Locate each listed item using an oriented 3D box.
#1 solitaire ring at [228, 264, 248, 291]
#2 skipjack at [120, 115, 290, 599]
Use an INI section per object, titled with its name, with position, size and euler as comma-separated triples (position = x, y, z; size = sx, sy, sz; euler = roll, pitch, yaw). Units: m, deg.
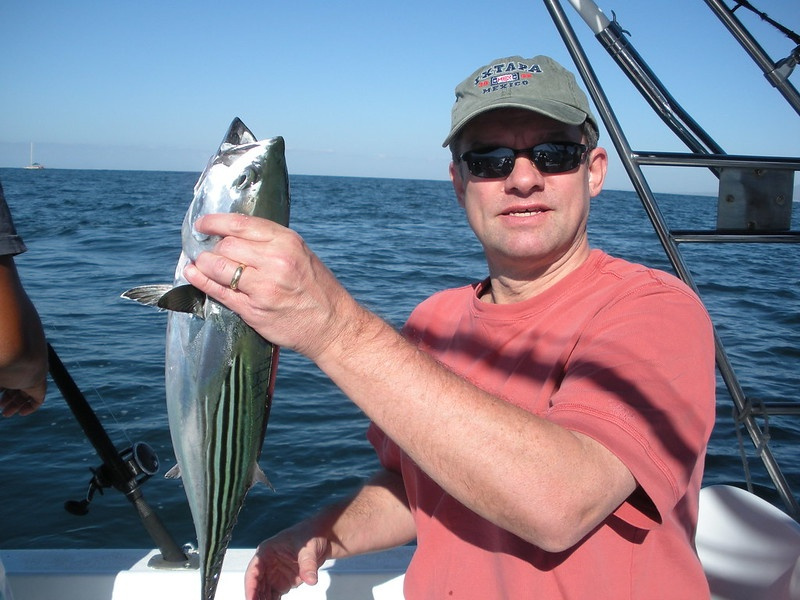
[solitaire ring]
position = -0.494, -0.065, 2.148
size = 0.018, 0.060, 0.065
euler = 21, -2, -14
[skipjack]
position = -0.651, 0.275, 2.455
size = 0.536, 1.753, 0.324
euler = 0, 12, -8
